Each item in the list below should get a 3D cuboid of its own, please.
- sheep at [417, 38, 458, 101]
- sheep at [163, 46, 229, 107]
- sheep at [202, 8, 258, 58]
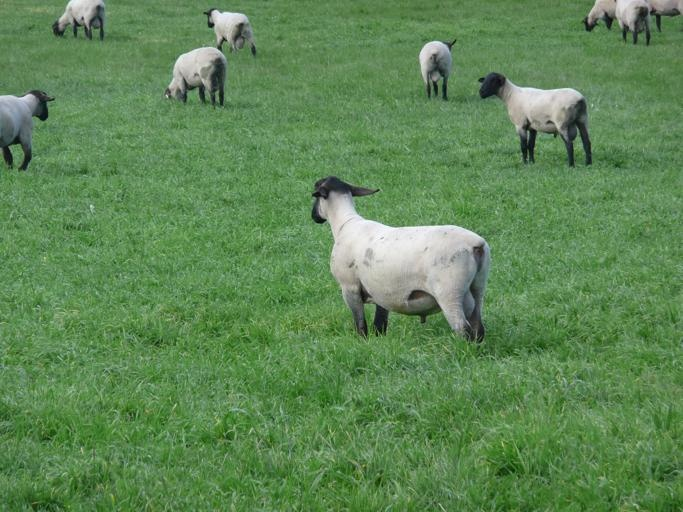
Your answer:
[{"bbox_3d":[3.360,-6.513,36.140,0.885,2.071,3.367,0,14,8],"label":"sheep"},{"bbox_3d":[-4.995,-5.869,35.016,2.908,1.872,0.885,-4,5,45],"label":"sheep"},{"bbox_3d":[-4.594,-9.392,43.555,1.246,1.908,3.584,-6,12,-24],"label":"sheep"}]
